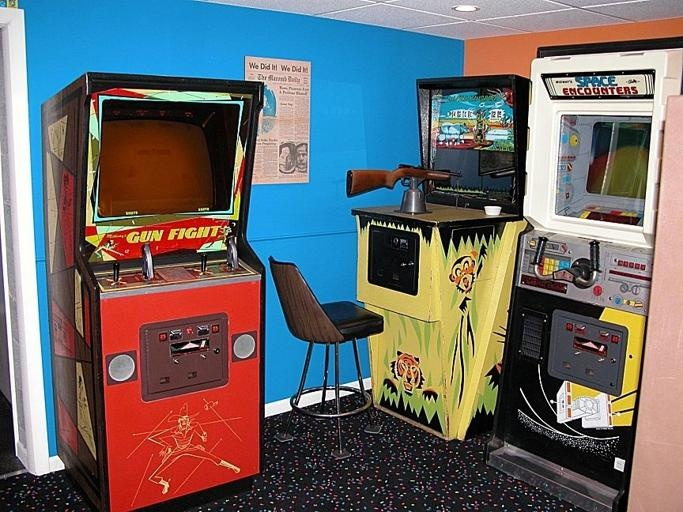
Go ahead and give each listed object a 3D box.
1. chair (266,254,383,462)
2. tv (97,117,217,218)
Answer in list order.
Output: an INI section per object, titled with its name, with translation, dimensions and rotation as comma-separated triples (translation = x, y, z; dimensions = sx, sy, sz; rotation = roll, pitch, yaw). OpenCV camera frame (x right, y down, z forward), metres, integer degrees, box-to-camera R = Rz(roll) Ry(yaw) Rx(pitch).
[chair]
translation = -0.067, 0.620, 3.562
dimensions = 0.716, 1.338, 0.857
rotation = 8, 15, 26
[tv]
translation = -0.982, -0.467, 2.855
dimensions = 0.801, 0.690, 0.413
rotation = -3, 3, -37
